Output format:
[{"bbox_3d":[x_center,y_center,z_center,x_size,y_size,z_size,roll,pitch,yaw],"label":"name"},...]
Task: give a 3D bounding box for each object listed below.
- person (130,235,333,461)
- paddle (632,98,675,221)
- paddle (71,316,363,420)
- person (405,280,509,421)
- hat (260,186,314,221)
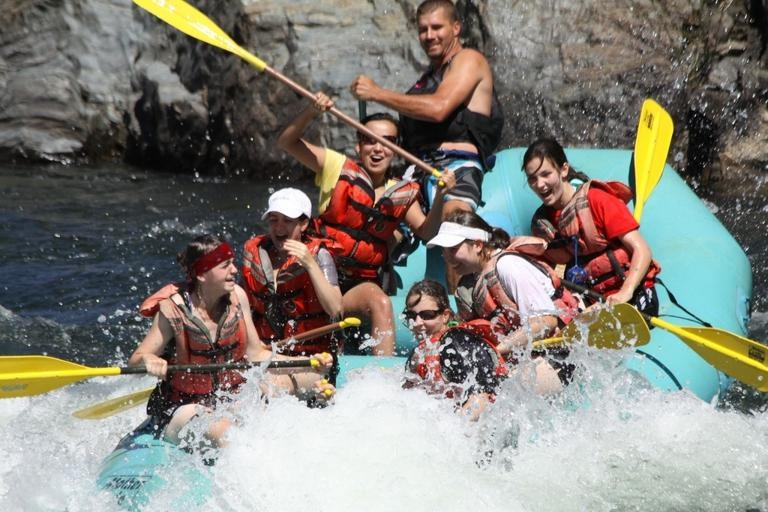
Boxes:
[{"bbox_3d":[-1.262,0.634,7.163,1.358,1.513,0.590,-9,20,-18],"label":"person"},{"bbox_3d":[2.397,-0.939,8.414,0.319,1.269,0.107,17,-21,-3],"label":"paddle"},{"bbox_3d":[-1.238,0.910,7.436,2.468,0.172,0.279,-15,3,-9],"label":"paddle"},{"bbox_3d":[0.514,0.682,7.140,0.702,0.998,0.383,-33,-13,20],"label":"person"},{"bbox_3d":[-0.797,-0.410,7.660,0.364,0.262,0.273,-2,19,1],"label":"hat"}]
